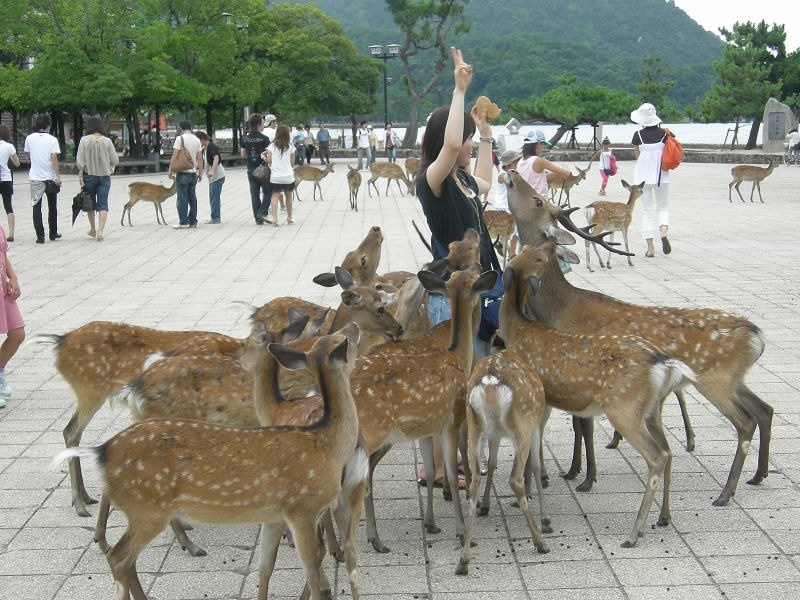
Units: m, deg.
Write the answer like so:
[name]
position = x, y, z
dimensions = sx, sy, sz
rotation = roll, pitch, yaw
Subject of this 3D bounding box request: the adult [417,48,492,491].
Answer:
[adult]
position = 0.412, -0.288, 5.352
dimensions = 0.572, 2.929, 1.422
rotation = 0, 14, 5

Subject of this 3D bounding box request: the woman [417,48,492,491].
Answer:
[woman]
position = 0.412, -0.289, 5.356
dimensions = 0.572, 2.931, 1.429
rotation = 0, 14, 5

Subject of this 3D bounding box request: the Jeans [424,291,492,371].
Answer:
[Jeans]
position = 0.459, 0.126, 5.150
dimensions = 0.251, 0.640, 0.595
rotation = -6, 2, 19
